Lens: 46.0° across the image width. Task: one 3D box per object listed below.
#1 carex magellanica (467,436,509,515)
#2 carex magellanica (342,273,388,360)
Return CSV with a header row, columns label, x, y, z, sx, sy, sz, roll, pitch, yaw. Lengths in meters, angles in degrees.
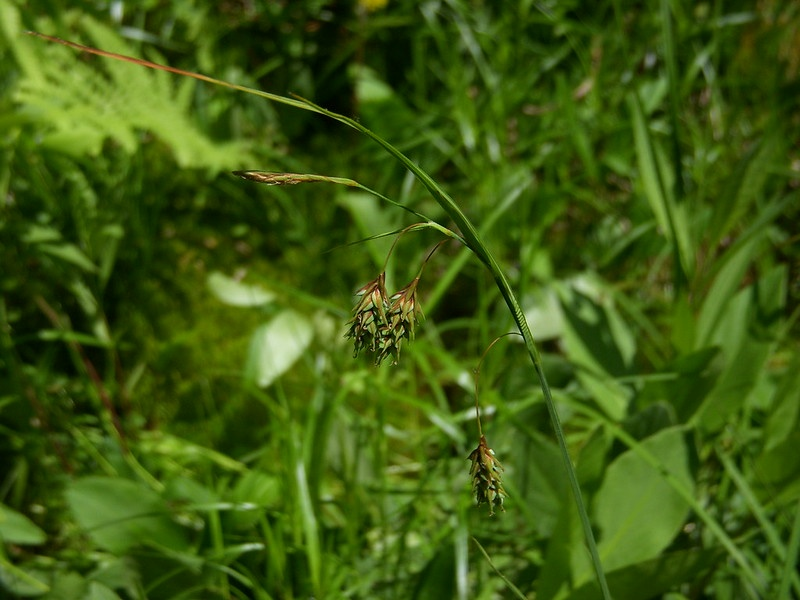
label,x,y,z,sx,sy,sz,roll,pitch,yaw
carex magellanica,0.059,0.127,0.707,0.021,0.045,0.021,3,16,20
carex magellanica,-0.022,0.003,0.687,0.027,0.064,0.029,22,49,-2
